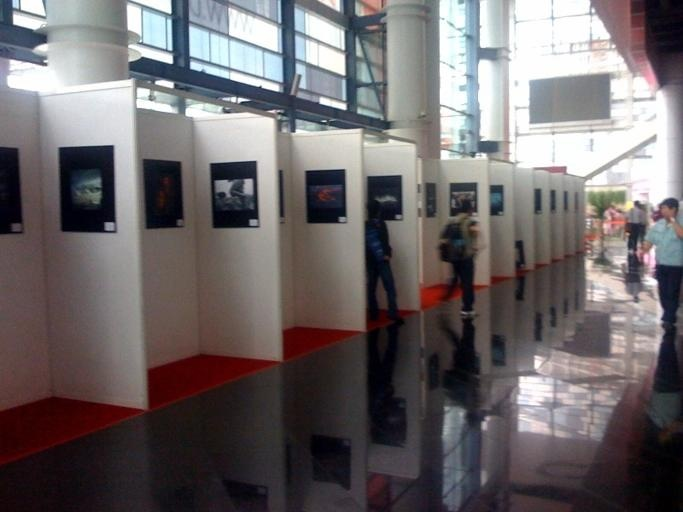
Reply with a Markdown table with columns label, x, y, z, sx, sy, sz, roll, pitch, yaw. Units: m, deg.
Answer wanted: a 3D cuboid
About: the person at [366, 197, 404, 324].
| label | x | y | z | sx | sy | sz | roll | pitch | yaw |
| --- | --- | --- | --- | --- | --- | --- | --- | --- | --- |
| person | 0.737 | 0.257 | 9.940 | 0.607 | 1.782 | 0.625 | 0 | 6 | 4 |
